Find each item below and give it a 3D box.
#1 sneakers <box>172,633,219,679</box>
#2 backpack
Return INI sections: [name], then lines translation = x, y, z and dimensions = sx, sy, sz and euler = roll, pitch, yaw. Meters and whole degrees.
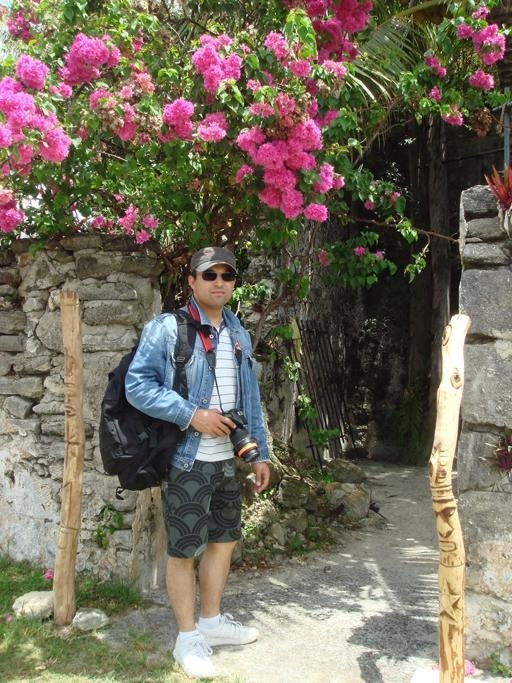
[sneakers]
translation = -0.253, 1.298, 2.831
dimensions = 0.112, 0.104, 0.255
euler = 1, -2, -37
[backpack]
translation = -0.438, 0.283, 2.992
dimensions = 0.466, 0.766, 0.338
euler = 7, 3, 29
